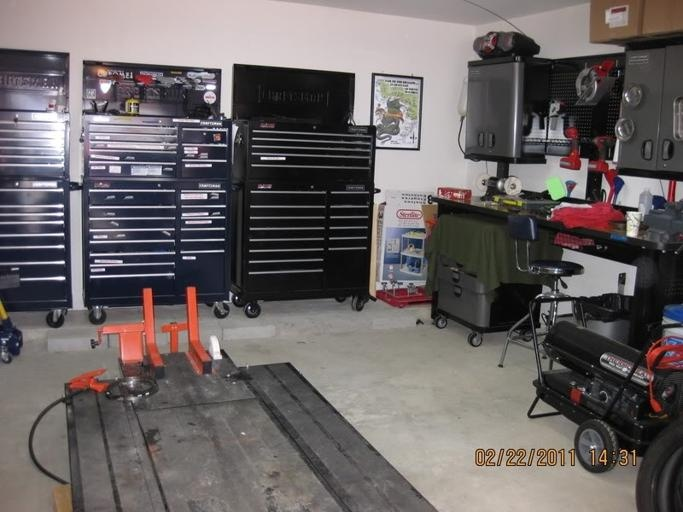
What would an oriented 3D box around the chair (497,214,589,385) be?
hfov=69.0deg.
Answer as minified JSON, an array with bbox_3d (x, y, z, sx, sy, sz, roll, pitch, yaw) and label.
[{"bbox_3d":[1.674,0.298,4.205,0.601,1.297,1.247,7,13,24],"label":"chair"}]

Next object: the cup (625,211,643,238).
[{"bbox_3d":[2.077,-0.229,3.535,0.095,0.155,0.177,9,14,32],"label":"cup"}]

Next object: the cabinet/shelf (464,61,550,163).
[{"bbox_3d":[1.677,-1.431,4.932,0.564,1.113,0.882,-6,13,-23],"label":"cabinet/shelf"}]

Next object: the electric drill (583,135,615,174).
[{"bbox_3d":[2.321,-0.893,4.435,0.217,0.316,0.203,9,10,25],"label":"electric drill"}]

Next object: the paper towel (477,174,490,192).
[{"bbox_3d":[1.487,-0.759,5.171,0.122,0.182,0.207,11,15,39],"label":"paper towel"}]
